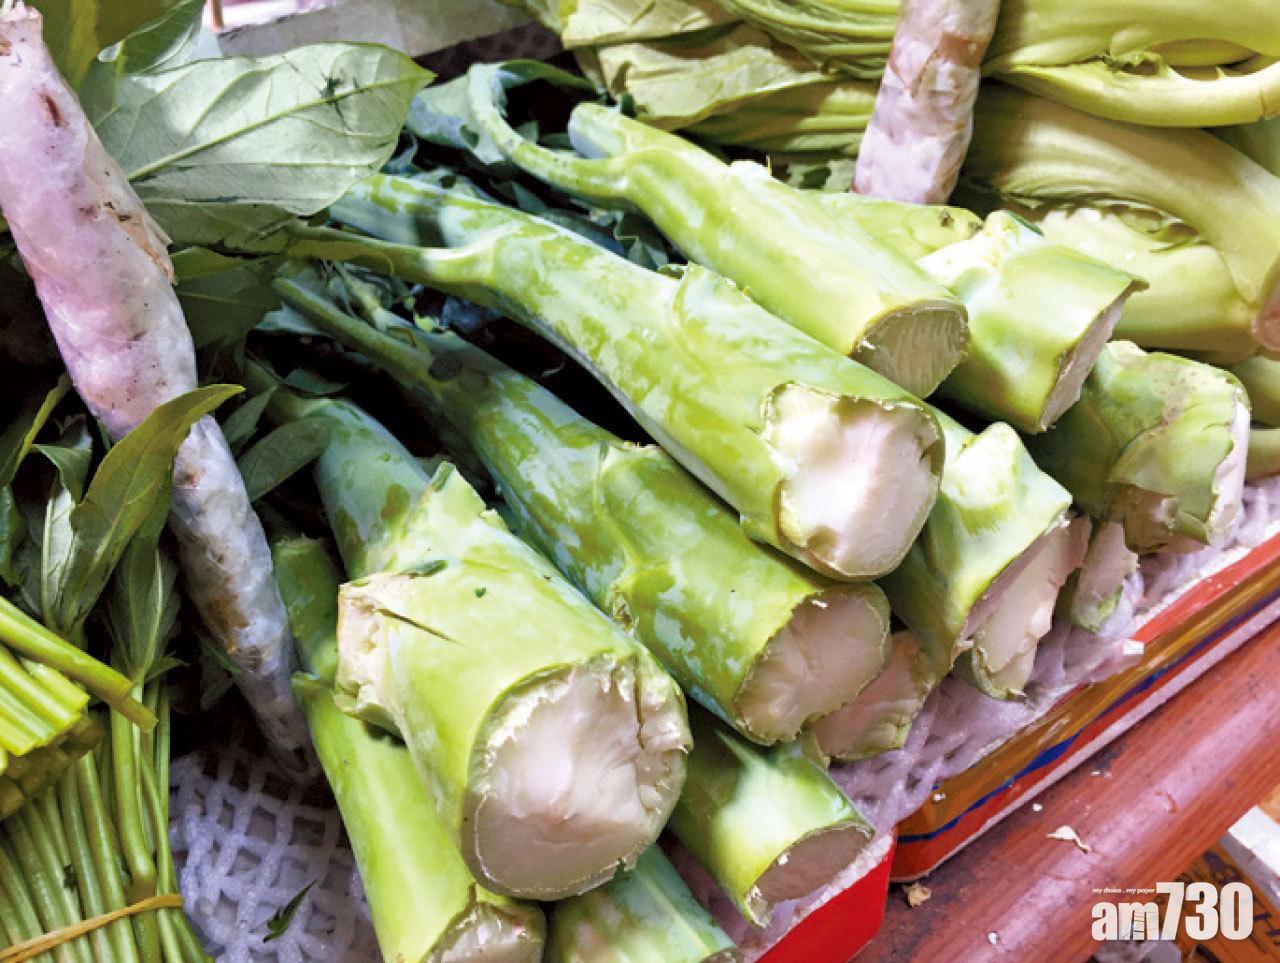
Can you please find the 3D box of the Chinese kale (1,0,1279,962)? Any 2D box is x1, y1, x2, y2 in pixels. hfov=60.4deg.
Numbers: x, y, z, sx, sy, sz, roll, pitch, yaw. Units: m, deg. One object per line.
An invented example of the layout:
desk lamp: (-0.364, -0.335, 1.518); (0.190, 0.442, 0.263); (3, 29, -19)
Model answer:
Chinese kale: (-0.050, -0.070, 1.184); (0.863, 0.253, 0.929); (-29, 58, -26)
